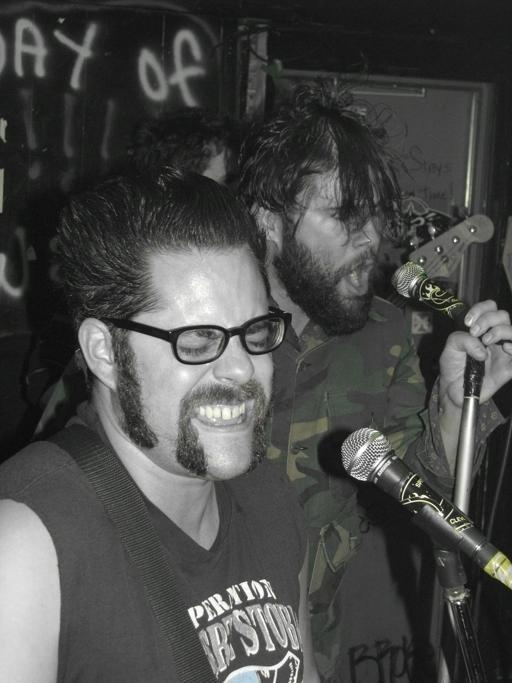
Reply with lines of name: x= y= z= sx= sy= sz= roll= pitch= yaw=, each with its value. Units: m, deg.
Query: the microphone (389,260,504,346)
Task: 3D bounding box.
microphone: x=0.421 y=-0.080 z=1.606 sx=0.076 sy=0.072 sz=0.248 roll=5 pitch=26 yaw=-41

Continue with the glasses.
glasses: x=-0.079 y=-0.008 z=1.261 sx=0.344 sy=0.079 sz=0.124 roll=-8 pitch=23 yaw=-17
